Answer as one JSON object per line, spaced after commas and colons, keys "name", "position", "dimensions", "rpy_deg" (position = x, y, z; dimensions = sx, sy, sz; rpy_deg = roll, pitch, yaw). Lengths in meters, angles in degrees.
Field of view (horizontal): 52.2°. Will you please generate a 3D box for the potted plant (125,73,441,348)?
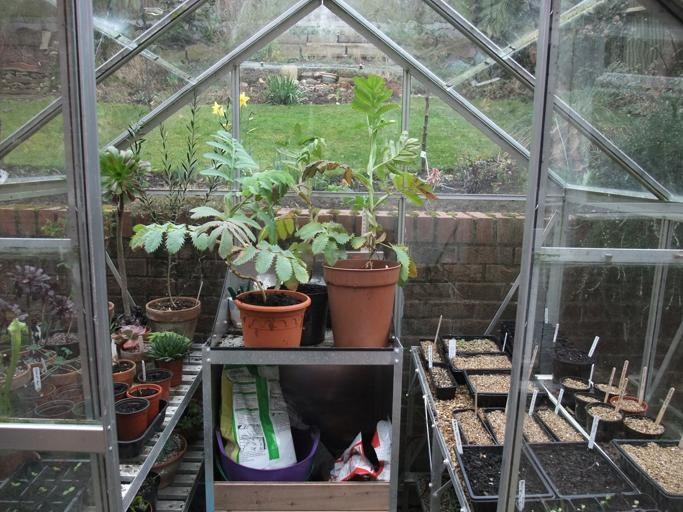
{"name": "potted plant", "position": [-0.224, -0.309, 3.021], "dimensions": [1.337, 0.903, 0.921], "rpy_deg": [-6, 12, -32]}
